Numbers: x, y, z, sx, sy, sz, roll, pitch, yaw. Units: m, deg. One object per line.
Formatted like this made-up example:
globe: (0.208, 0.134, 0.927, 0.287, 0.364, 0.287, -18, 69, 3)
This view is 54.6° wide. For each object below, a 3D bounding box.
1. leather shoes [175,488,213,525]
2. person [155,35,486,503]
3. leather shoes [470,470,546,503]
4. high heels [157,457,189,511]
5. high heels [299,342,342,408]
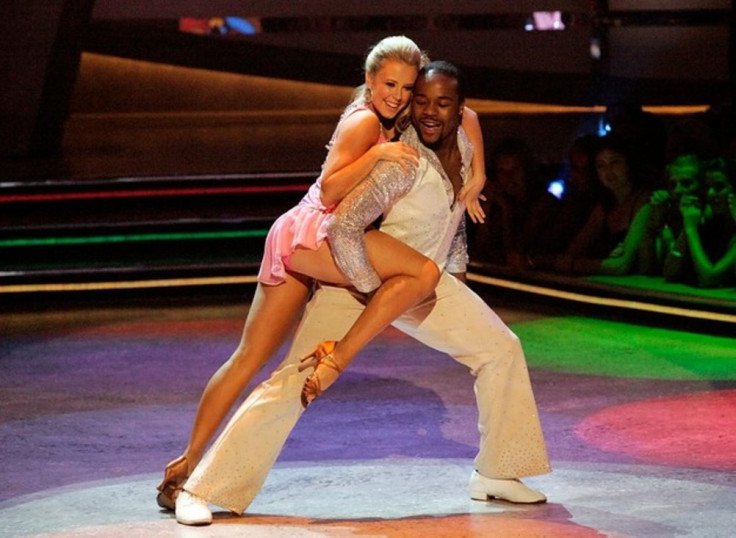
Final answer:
leather shoes: (-0.580, 0.772, 2.315, 0.111, 0.078, 0.254, 6, -7, -21)
person: (-0.078, 0.015, 2.403, 1.157, 1.578, 0.574, -10, 16, -39)
leather shoes: (0.523, 0.774, 2.541, 0.306, 0.094, 0.093, 0, 6, 13)
high heels: (-0.662, 0.763, 2.412, 0.095, 0.060, 0.206, -1, -5, -19)
high heels: (-0.170, 0.334, 2.239, 0.116, 0.221, 0.060, 41, 24, 14)
